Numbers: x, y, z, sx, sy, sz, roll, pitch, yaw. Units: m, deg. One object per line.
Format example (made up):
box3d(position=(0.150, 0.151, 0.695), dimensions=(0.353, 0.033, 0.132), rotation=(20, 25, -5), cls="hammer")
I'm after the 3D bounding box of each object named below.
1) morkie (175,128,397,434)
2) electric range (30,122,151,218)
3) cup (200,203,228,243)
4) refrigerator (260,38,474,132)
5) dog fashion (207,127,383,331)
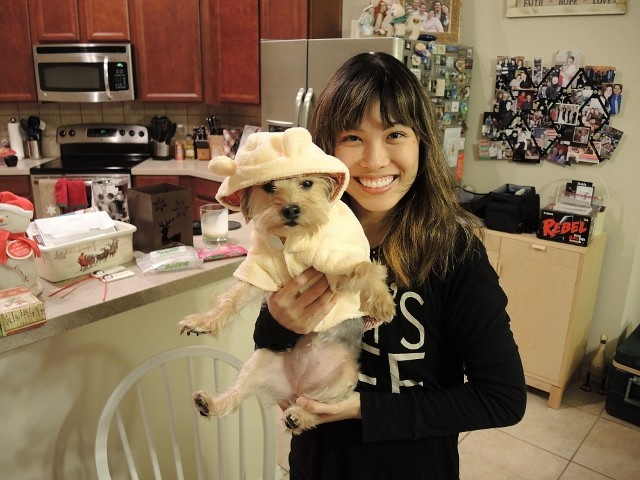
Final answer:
box3d(position=(-0.058, 0.043, 1.501), dimensions=(0.638, 0.877, 0.683), rotation=(-5, 21, -24), cls="morkie")
box3d(position=(-1.653, -0.517, 3.390), dimensions=(0.785, 0.696, 0.528), rotation=(-1, 24, -10), cls="electric range")
box3d(position=(-0.436, -0.084, 2.129), dimensions=(0.145, 0.190, 0.160), rotation=(-2, 10, -9), cls="cup")
box3d(position=(0.277, -0.804, 2.385), dimensions=(0.516, 0.692, 0.939), rotation=(-13, 20, -42), cls="refrigerator")
box3d(position=(-0.053, -0.062, 1.357), dimensions=(0.440, 0.560, 0.459), rotation=(-5, 22, -24), cls="dog fashion")
